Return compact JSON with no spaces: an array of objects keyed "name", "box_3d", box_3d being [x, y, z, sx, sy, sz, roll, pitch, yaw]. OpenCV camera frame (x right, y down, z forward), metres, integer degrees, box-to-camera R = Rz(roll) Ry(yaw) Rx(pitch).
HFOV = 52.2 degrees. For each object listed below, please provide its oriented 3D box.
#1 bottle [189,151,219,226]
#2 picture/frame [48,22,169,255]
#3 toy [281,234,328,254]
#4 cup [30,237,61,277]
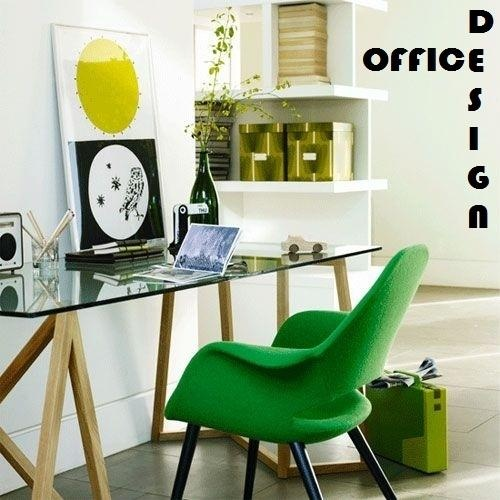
[{"name":"bottle","box_3d":[-0.179,-0.246,1.986,0.109,0.289,0.136,-1,7,-9]},{"name":"picture/frame","box_3d":[-0.561,-0.482,2.131,0.144,0.919,0.492,5,9,40]},{"name":"toy","box_3d":[0.199,-0.013,1.878,0.129,0.081,0.083,1,0,11]},{"name":"cup","box_3d":[-0.604,0.027,1.501,0.080,0.155,0.083,-7,-13,-2]}]
